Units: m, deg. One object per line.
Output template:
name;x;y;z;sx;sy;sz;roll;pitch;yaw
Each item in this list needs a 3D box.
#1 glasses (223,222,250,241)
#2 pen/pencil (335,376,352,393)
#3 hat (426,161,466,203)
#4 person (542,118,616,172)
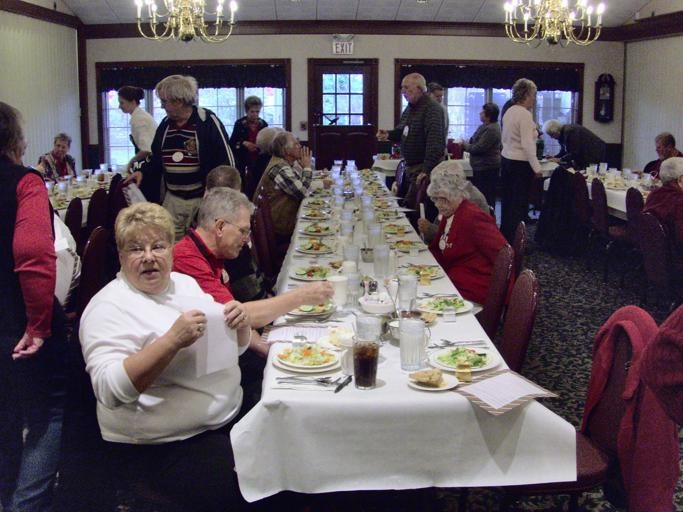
glasses;-0.454;-0.108;2.244;0.077;0.024;0.076;26;0;9
pen/pencil;0.008;0.404;1.656;0.018;0.011;0.134;18;14;12
hat;0.654;-0.464;3.299;0.219;0.313;0.241;-6;6;0
person;3.492;-1.664;7.833;0.773;0.881;0.574;-8;22;17
